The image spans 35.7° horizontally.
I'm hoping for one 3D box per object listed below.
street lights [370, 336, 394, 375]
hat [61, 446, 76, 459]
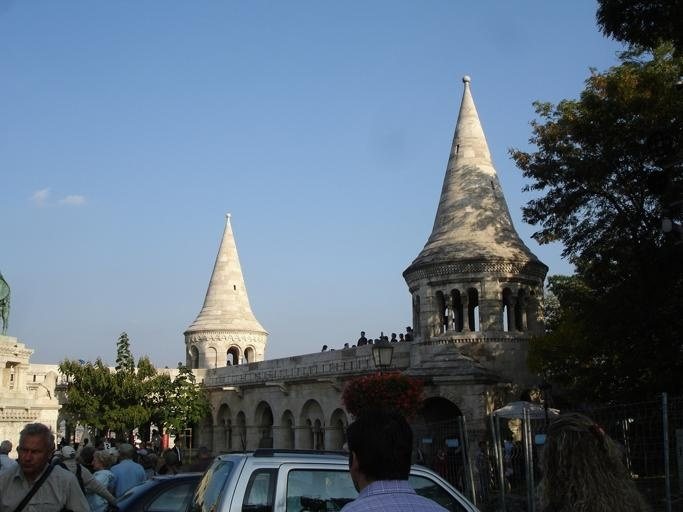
[{"bbox_3d":[1.063,2.457,26.828,0.563,0.812,0.561,-2,-2,-9],"label":"street lights"},{"bbox_3d":[-4.928,3.560,19.224,0.233,0.170,0.313,3,-10,-35],"label":"hat"}]
